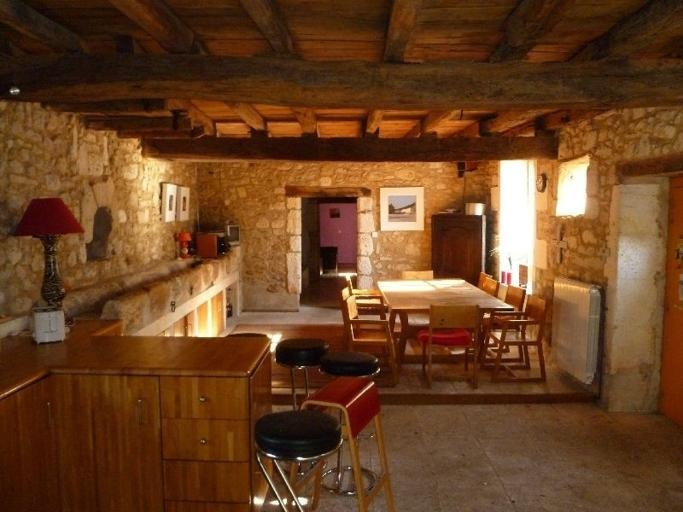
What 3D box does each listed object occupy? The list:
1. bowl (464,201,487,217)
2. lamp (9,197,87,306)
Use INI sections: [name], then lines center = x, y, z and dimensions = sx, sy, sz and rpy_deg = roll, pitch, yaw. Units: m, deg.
[bowl]
center = 2.154, -0.759, 8.467
dimensions = 0.343, 0.192, 0.236
rpy_deg = 1, 4, 5
[lamp]
center = -2.192, -0.030, 3.883
dimensions = 0.480, 0.809, 0.384
rpy_deg = 4, 5, 7
